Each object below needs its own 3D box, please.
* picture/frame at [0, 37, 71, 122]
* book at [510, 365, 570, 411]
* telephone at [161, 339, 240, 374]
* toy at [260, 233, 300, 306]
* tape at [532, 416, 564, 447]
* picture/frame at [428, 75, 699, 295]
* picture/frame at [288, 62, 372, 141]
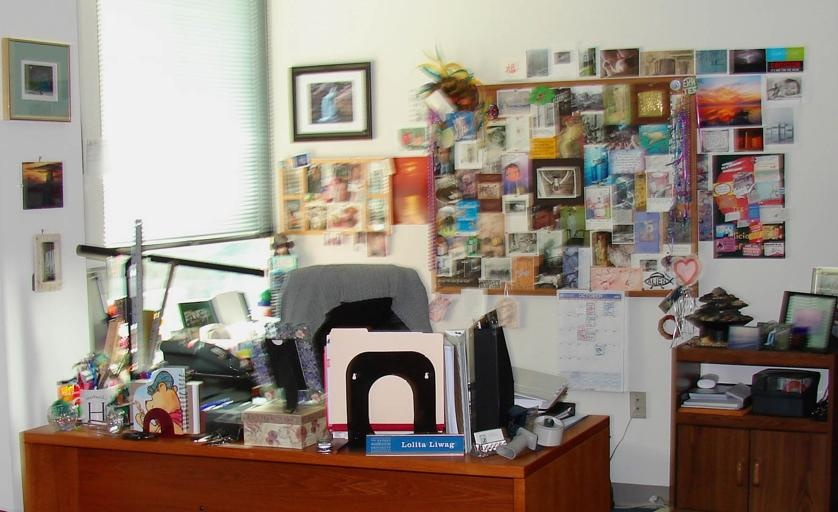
[{"bbox_3d":[-2.128,-0.978,4.119,0.052,0.442,0.361,2,7,42],"label":"picture/frame"},{"bbox_3d":[0.568,0.645,3.578,0.218,0.048,0.214,5,13,18],"label":"book"},{"bbox_3d":[-1.040,0.478,3.551,0.406,0.130,0.247,7,6,-9],"label":"telephone"},{"bbox_3d":[-1.038,0.133,5.440,0.154,0.583,0.312,1,6,39],"label":"toy"},{"bbox_3d":[0.576,0.757,3.294,0.088,0.064,0.088,3,30,40],"label":"tape"},{"bbox_3d":[1.065,-0.511,5.076,1.668,1.210,0.061,0,0,13],"label":"picture/frame"},{"bbox_3d":[-0.628,-1.142,5.396,0.639,0.510,0.067,0,1,12],"label":"picture/frame"}]
